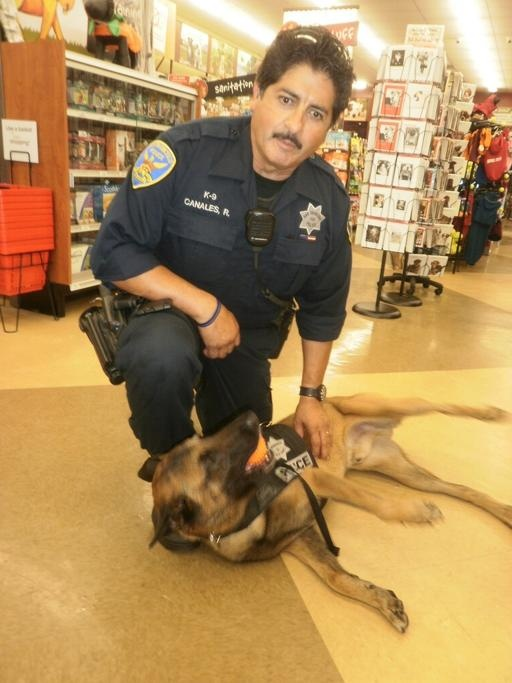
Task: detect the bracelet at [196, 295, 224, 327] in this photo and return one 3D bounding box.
[{"bbox_3d":[-0.131,-0.084,1.341,0.016,0.070,0.072,23,27,25],"label":"bracelet"}]

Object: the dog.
[{"bbox_3d":[0.164,0.434,1.354,0.783,0.362,0.592,-14,24,-39],"label":"dog"}]

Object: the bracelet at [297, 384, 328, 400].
[{"bbox_3d":[0.184,0.162,1.575,0.059,0.038,0.058,0,-9,32],"label":"bracelet"}]
